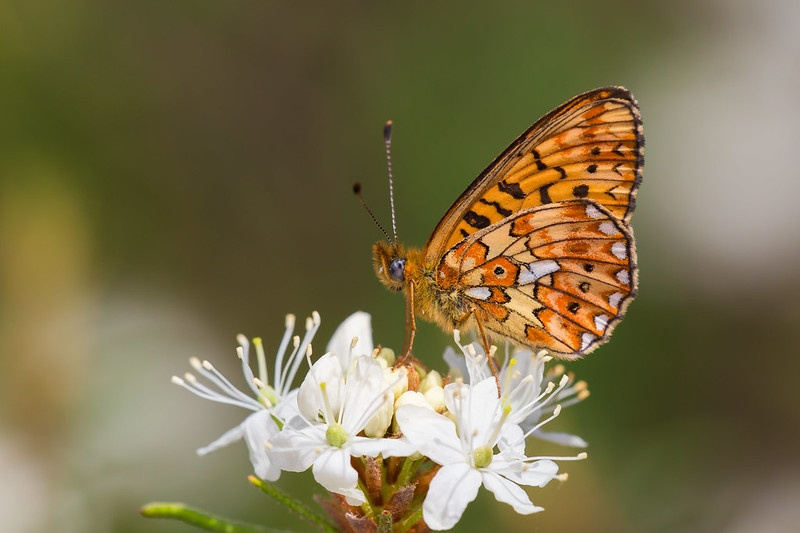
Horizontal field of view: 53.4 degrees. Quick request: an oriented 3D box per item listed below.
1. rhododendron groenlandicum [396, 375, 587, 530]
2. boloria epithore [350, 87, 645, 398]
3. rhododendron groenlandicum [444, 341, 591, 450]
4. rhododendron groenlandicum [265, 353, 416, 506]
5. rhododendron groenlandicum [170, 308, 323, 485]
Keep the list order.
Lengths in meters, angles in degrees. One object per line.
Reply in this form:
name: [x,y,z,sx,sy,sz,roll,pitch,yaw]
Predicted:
rhododendron groenlandicum: [0.661,1.659,7.151,1.383,1.483,0.608,-17,-20,-30]
boloria epithore: [1.370,-0.153,7.820,2.804,1.619,1.677,-28,-56,12]
rhododendron groenlandicum: [1.139,1.111,7.759,0.626,1.204,1.312,-45,-34,5]
rhododendron groenlandicum: [-0.678,1.359,7.008,1.666,1.648,0.596,28,-48,-31]
rhododendron groenlandicum: [-1.368,1.216,7.675,1.229,1.521,1.360,-11,-9,-11]
